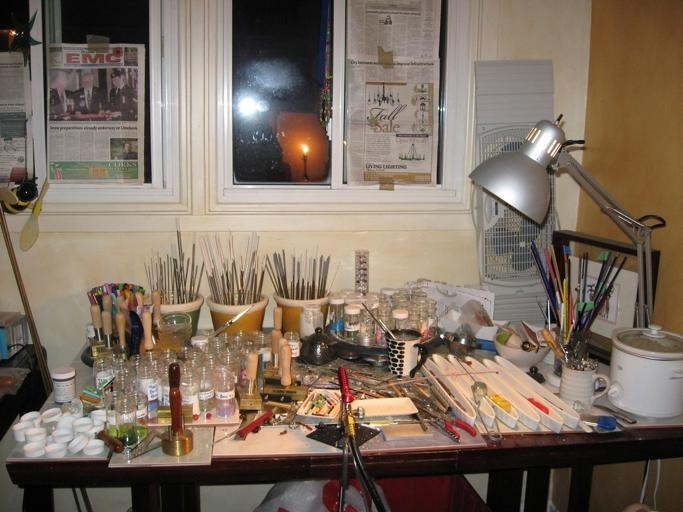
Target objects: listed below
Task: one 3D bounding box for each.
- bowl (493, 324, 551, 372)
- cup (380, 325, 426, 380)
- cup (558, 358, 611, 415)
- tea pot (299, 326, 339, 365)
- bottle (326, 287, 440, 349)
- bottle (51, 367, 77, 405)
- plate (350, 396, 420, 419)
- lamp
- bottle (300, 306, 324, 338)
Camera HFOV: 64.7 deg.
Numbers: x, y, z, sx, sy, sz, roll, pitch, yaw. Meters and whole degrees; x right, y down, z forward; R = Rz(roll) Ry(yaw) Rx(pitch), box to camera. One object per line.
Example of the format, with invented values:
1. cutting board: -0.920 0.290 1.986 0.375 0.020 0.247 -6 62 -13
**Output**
1. bowl: 0.719 0.327 2.175 0.177 0.125 0.182 2 22 -1
2. cup: 0.236 0.385 2.077 0.116 0.140 0.180 2 11 -3
3. cup: 0.843 0.468 1.933 0.179 0.178 0.123 3 6 15
4. tea pot: -0.094 0.367 2.121 0.132 0.102 0.139 1 10 0
5. bottle: 0.228 0.230 2.285 0.236 0.122 0.309 6 7 43
6. bottle: -0.968 0.458 1.886 0.103 0.123 0.105 2 0 44
7. plate: 0.153 0.532 1.870 0.140 0.022 0.097 -2 14 -4
8. lamp: 0.875 -0.134 2.125 0.752 0.816 0.310 -2 9 1
9. bottle: -0.122 0.272 2.278 0.109 0.201 0.120 0 2 -3
